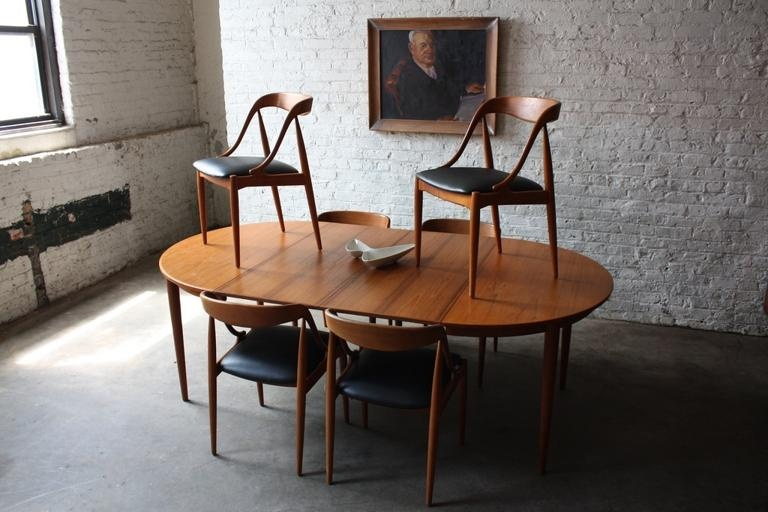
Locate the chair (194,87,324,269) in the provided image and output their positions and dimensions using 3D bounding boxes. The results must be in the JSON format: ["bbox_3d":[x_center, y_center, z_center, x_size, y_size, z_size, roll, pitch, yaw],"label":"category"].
[{"bbox_3d":[-0.908,-0.581,4.170,0.852,0.965,0.859,18,28,35],"label":"chair"}]

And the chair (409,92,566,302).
[{"bbox_3d":[0.671,-0.440,3.805,0.851,1.011,0.818,-21,28,-34],"label":"chair"}]

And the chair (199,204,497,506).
[{"bbox_3d":[-0.220,0.563,3.526,1.207,0.781,1.476,4,12,17],"label":"chair"}]

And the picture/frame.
[{"bbox_3d":[0.464,-1.544,4.923,1.550,1.091,0.103,3,24,8],"label":"picture/frame"}]
